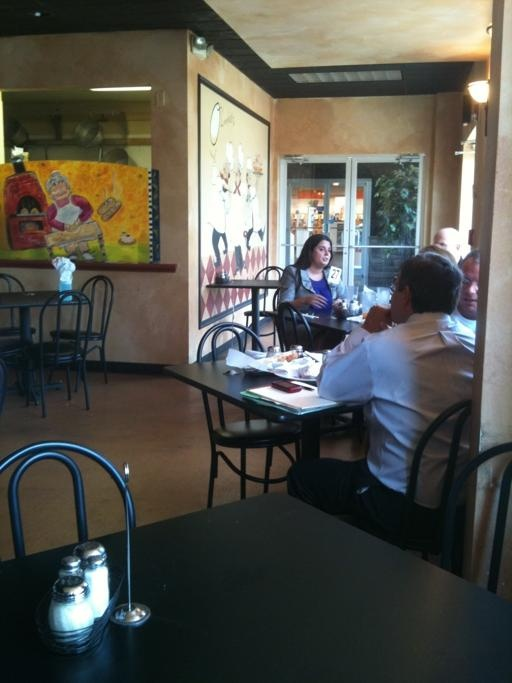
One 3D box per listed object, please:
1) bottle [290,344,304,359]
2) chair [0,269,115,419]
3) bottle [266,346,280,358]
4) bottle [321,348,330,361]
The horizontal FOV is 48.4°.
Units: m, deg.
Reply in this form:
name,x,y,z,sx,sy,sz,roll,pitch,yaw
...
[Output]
name,x,y,z,sx,sy,sz,roll,pitch,yaw
bottle,0.174,0.041,2.414,0.049,0.091,0.052,2,0,0
chair,-1.584,-0.052,4.641,0.803,0.945,1.631,0,10,-14
bottle,0.078,0.044,2.439,0.041,0.047,0.051,-6,-11,41
bottle,0.290,0.054,2.389,0.035,0.064,0.037,5,5,0
